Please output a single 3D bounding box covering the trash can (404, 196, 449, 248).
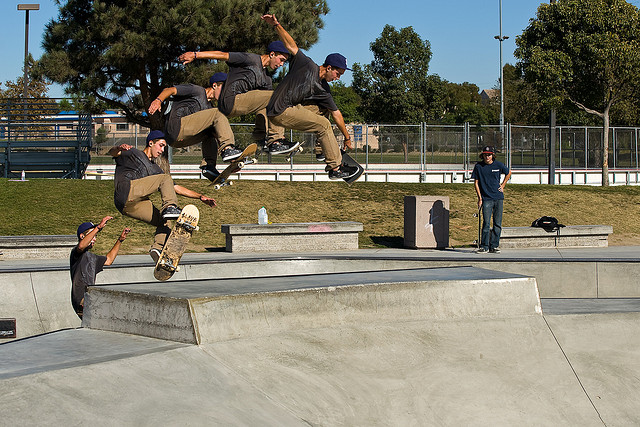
[{"bbox_3d":[2.661,0.238,19.575,1.073,1.289,0.587,0,2,2],"label":"trash can"}]

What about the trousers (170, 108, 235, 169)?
[{"bbox_3d":[-2.153,-1.360,14.476,1.055,1.097,0.722,-1,2,-17],"label":"trousers"}]

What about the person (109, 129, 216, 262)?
[{"bbox_3d":[-3.136,-0.414,14.376,1.478,2.628,1.045,0,0,-14],"label":"person"}]

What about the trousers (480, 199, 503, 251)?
[{"bbox_3d":[3.886,0.295,17.780,0.442,1.189,0.672,0,2,12],"label":"trousers"}]

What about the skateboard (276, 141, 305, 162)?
[{"bbox_3d":[-0.540,-1.144,14.586,0.401,0.131,0.321,-30,0,7],"label":"skateboard"}]

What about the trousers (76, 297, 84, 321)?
[{"bbox_3d":[-3.876,1.569,12.688,0.083,0.367,0.714,-1,2,-17],"label":"trousers"}]

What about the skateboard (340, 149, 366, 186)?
[{"bbox_3d":[0.572,-0.872,14.836,0.695,0.394,0.162,42,-1,3],"label":"skateboard"}]

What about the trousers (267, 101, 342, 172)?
[{"bbox_3d":[-0.469,-1.504,14.206,1.530,0.719,2.038,-8,-23,-8],"label":"trousers"}]
